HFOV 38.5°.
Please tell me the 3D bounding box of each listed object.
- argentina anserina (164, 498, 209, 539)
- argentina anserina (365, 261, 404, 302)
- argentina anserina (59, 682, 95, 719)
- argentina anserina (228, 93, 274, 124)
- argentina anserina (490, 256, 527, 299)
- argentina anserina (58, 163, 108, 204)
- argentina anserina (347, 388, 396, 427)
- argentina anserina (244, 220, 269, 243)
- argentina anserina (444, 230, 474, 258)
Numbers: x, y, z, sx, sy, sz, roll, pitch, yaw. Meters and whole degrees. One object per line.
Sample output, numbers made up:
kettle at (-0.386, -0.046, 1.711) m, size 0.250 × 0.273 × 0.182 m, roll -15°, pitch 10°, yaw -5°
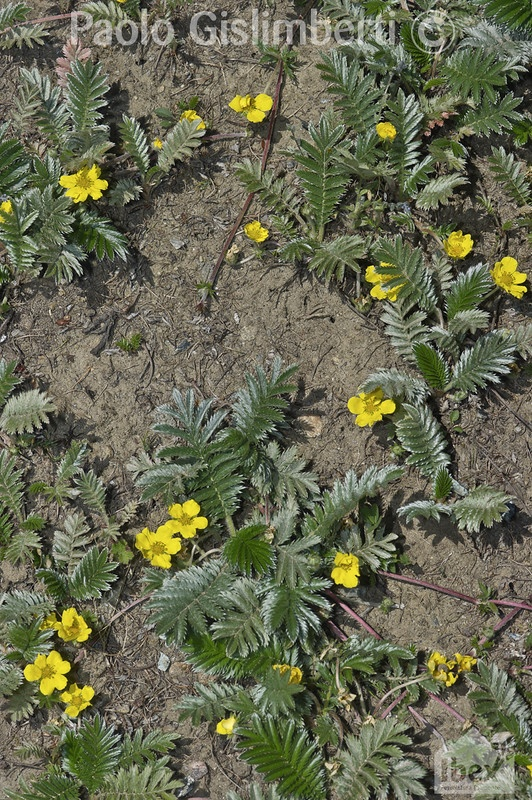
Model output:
argentina anserina at (-0.345, 0.517, 3.321) m, size 0.169 × 0.120 × 0.147 m, roll 12°, pitch 65°, yaw 5°
argentina anserina at (0.521, -0.523, 3.437) m, size 0.078 × 0.170 × 0.163 m, roll -34°, pitch 84°, yaw -38°
argentina anserina at (-0.830, 1.323, 3.375) m, size 0.151 × 0.065 × 0.144 m, roll -19°, pitch 51°, yaw -26°
argentina anserina at (-0.071, -1.357, 3.581) m, size 0.196 × 0.176 × 0.163 m, roll 0°, pitch 64°, yaw 0°
argentina anserina at (1.061, -0.540, 3.386) m, size 0.169 × 0.083 × 0.185 m, roll -4°, pitch 79°, yaw -16°
argentina anserina at (-0.840, -0.981, 3.530) m, size 0.195 × 0.134 × 0.189 m, roll -19°, pitch 66°, yaw -9°
argentina anserina at (0.455, 0.014, 3.347) m, size 0.188 × 0.119 × 0.152 m, roll -17°, pitch 66°, yaw -8°
argentina anserina at (-0.049, -0.803, 3.564) m, size 0.115 × 0.123 × 0.151 m, roll -1°, pitch 65°, yaw -1°
argentina anserina at (0.853, -0.701, 3.421) m, size 0.102 × 0.127 × 0.120 m, roll -3°, pitch 64°, yaw -2°
